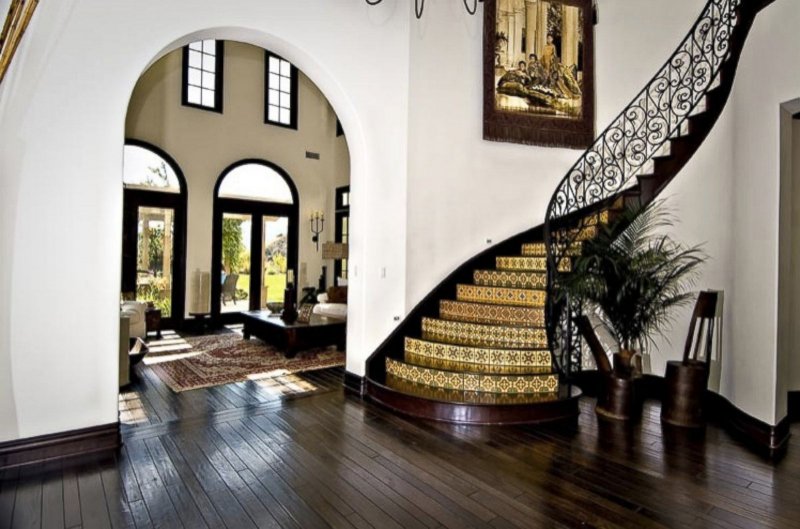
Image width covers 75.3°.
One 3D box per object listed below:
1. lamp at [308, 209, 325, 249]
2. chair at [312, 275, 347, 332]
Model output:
[{"bbox_3d":[-2.067,-0.906,13.033,0.171,0.933,0.476,13,19,41],"label":"lamp"},{"bbox_3d":[-1.346,0.992,10.210,0.457,0.623,1.474,3,-2,-22],"label":"chair"}]
